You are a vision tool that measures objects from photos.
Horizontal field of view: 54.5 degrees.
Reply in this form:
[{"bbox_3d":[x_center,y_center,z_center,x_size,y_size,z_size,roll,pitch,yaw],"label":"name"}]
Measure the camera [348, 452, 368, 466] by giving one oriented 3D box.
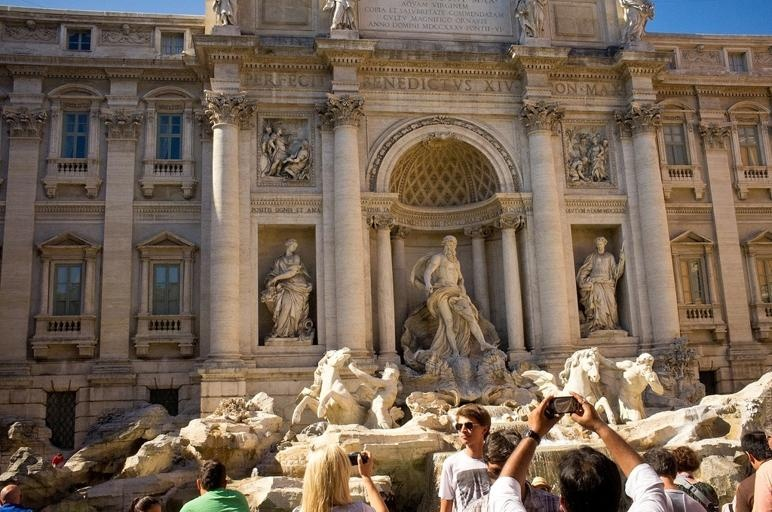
[{"bbox_3d":[-0.387,2.804,10.355,0.278,0.149,0.145,-7,-21,12],"label":"camera"}]
